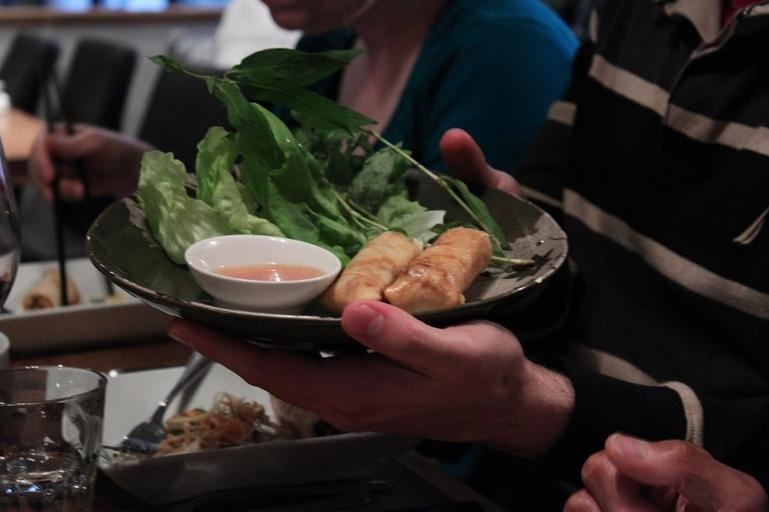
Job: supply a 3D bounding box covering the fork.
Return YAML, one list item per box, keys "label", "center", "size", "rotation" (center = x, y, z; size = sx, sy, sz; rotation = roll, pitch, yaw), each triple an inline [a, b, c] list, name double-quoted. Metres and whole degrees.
- label: "fork"
  center: [-0.240, 0.169, 0.805]
  size: [0.035, 0.035, 0.240]
  rotation: [15, 27, 10]

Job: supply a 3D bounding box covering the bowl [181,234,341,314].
- label: "bowl"
  center: [-0.137, 0.003, 0.760]
  size: [0.172, 0.085, 0.207]
  rotation: [3, 7, 15]

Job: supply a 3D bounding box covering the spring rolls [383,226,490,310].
- label: "spring rolls"
  center: [0.066, 0.015, 0.731]
  size: [0.081, 0.048, 0.142]
  rotation: [5, 31, 30]

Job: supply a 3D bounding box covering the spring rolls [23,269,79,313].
- label: "spring rolls"
  center: [-0.575, 0.062, 1.130]
  size: [0.052, 0.043, 0.071]
  rotation: [12, 18, 3]

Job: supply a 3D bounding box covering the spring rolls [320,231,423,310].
- label: "spring rolls"
  center: [-0.007, 0.015, 0.748]
  size: [0.070, 0.044, 0.122]
  rotation: [8, 40, 44]

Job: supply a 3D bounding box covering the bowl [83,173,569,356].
- label: "bowl"
  center: [-0.044, 0.000, 0.752]
  size: [0.541, 0.159, 0.284]
  rotation: [2, 29, -24]
